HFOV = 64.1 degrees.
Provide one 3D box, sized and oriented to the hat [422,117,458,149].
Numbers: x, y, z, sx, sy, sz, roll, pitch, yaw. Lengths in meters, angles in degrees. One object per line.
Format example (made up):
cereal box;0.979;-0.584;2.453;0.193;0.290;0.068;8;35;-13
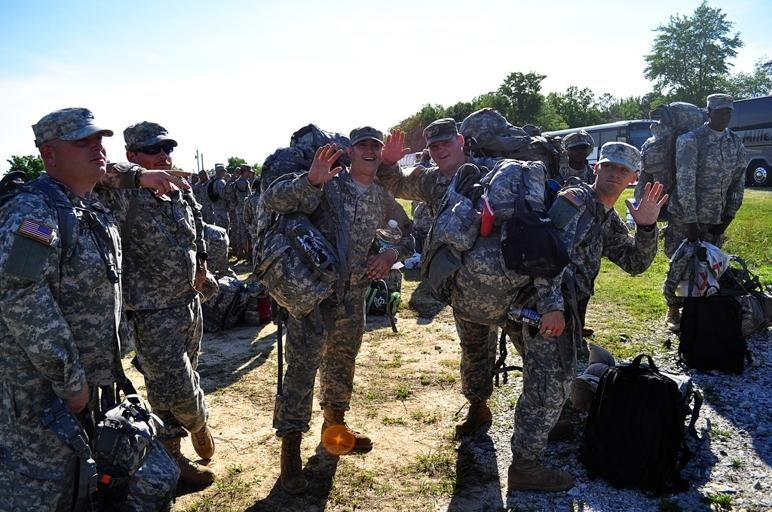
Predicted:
hat;0.553;-1.164;5.804;0.234;0.155;0.322;-19;2;38

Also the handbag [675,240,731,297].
handbag;3.618;0.162;7.096;0.590;0.569;0.433;-5;-15;-3

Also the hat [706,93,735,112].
hat;4.253;-1.970;7.887;0.271;0.235;0.365;4;7;23

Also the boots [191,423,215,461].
boots;-1.646;1.710;5.659;0.155;0.397;0.161;-18;9;-8

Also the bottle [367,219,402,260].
bottle;0.009;-0.188;5.830;0.348;0.323;0.252;-6;29;-28

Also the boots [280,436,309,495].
boots;-0.814;1.813;5.466;0.238;0.490;0.310;0;6;-10

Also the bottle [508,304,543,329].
bottle;1.159;0.507;5.182;0.334;0.173;0.093;6;8;38

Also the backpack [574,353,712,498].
backpack;2.167;1.431;5.353;0.883;1.128;0.326;3;7;16

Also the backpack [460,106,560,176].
backpack;1.194;-1.121;6.007;0.866;0.358;0.626;25;9;1
